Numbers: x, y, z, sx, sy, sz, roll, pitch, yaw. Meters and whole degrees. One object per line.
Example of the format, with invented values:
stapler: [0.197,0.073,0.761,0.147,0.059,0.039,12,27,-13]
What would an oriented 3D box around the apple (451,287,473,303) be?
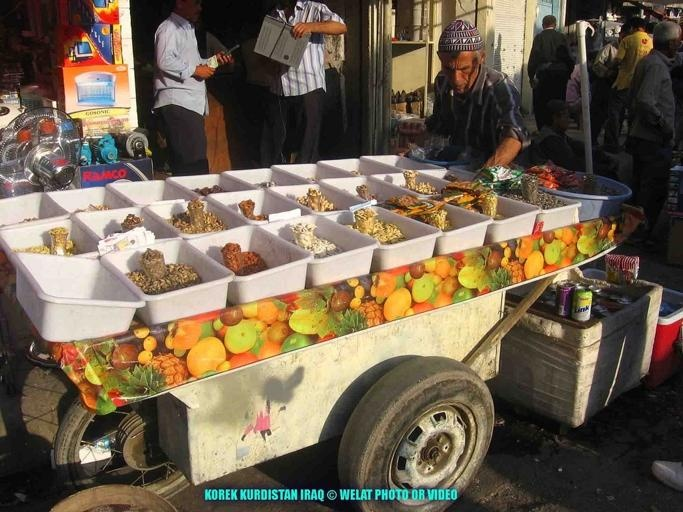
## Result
apple: [0.592,0.194,2.620,0.075,0.082,0.078,-22,-8,4]

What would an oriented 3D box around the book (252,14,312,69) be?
book: [-0.584,-2.127,5.300,0.502,0.460,0.254,4,23,7]

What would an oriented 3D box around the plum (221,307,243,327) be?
plum: [-0.426,0.237,2.071,0.067,0.038,0.067,-33,51,-30]

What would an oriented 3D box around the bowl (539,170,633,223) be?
bowl: [1.500,-0.348,3.136,0.417,0.164,0.372,-11,29,-8]

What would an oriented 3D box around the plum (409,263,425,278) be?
plum: [0.346,0.067,2.440,0.061,0.079,0.067,11,48,13]

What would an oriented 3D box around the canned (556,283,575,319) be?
canned: [1.351,0.280,3.208,0.099,0.196,0.108,-1,27,12]

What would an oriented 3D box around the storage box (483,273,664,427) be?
storage box: [1.531,0.543,3.515,0.895,0.621,0.923,-20,29,-27]

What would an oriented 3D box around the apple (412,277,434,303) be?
apple: [0.380,0.153,2.506,0.094,0.129,0.073,36,3,6]

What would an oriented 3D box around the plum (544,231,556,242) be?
plum: [1.119,-0.104,2.862,0.052,0.041,0.064,-3,35,1]

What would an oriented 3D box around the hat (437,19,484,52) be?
hat: [0.776,-1.471,3.470,0.227,0.163,0.243,-7,25,-6]
